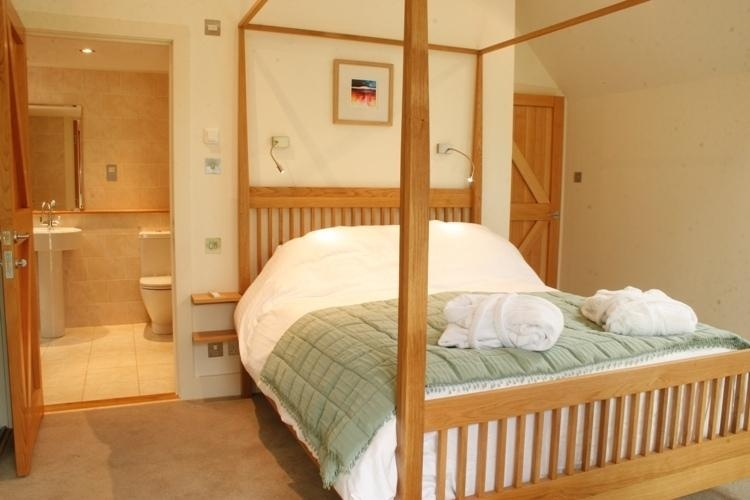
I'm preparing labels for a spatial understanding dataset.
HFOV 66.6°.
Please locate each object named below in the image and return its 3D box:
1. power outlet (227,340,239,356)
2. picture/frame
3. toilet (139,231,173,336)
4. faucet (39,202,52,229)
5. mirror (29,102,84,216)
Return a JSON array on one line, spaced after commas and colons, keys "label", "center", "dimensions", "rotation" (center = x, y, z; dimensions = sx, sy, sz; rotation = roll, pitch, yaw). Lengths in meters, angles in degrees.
[{"label": "power outlet", "center": [-1.068, 0.732, 4.292], "dimensions": [0.106, 0.103, 0.025], "rotation": [3, 9, -4]}, {"label": "picture/frame", "center": [-0.117, -1.238, 4.458], "dimensions": [0.567, 0.497, 0.040], "rotation": [0, 6, -21]}, {"label": "toilet", "center": [-2.130, 0.320, 5.558], "dimensions": [0.306, 0.937, 0.668], "rotation": [-5, 16, -22]}, {"label": "faucet", "center": [-3.179, -0.352, 5.505], "dimensions": [0.105, 0.217, 0.181], "rotation": [-7, 17, -29]}, {"label": "mirror", "center": [-3.160, -0.880, 5.600], "dimensions": [0.491, 0.903, 0.070], "rotation": [-3, -6, -24]}]
